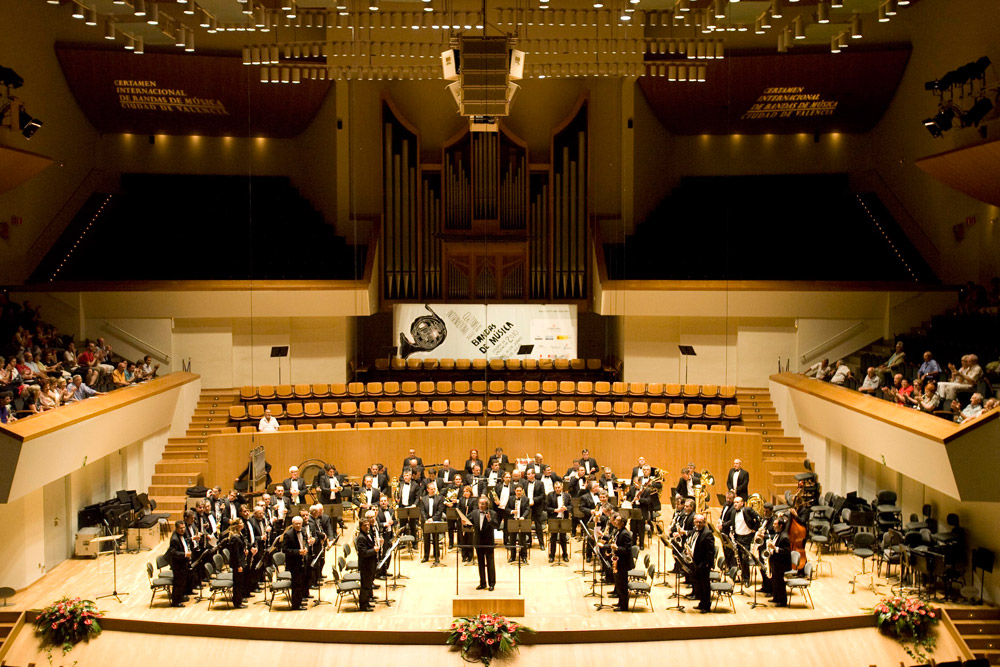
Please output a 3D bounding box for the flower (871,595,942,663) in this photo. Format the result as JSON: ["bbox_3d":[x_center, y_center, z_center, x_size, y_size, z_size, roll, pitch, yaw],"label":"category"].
[{"bbox_3d":[7.250,5.040,14.916,0.846,1.069,0.665,18,23,37],"label":"flower"}]

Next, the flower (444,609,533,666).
[{"bbox_3d":[-0.263,5.096,14.062,0.803,0.562,0.857,1,6,-3],"label":"flower"}]

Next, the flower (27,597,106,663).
[{"bbox_3d":[-7.562,5.089,14.668,0.818,0.755,0.916,9,14,16],"label":"flower"}]

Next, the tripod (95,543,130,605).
[{"bbox_3d":[-7.533,4.582,16.421,0.614,1.124,0.695,-6,-13,1],"label":"tripod"}]
